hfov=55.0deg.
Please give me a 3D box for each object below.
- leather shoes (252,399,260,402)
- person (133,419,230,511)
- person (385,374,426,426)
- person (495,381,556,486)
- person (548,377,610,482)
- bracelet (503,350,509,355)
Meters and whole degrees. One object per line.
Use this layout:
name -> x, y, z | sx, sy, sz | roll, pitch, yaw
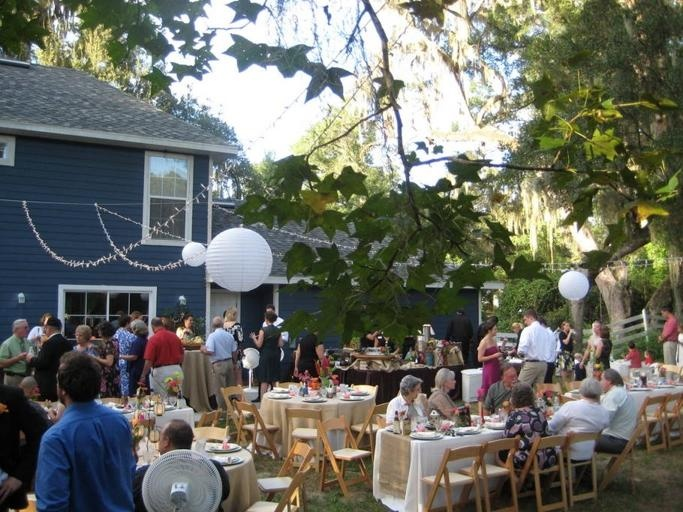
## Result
leather shoes -> -1.862, 3.153, 14.257 | 0.164, 0.128, 0.071 | -1, -12, 2
person -> -1.559, 2.000, 6.149 | 0.783, 0.918, 0.816 | 3, -6, -35
person -> 0.884, 2.106, 9.414 | 0.711, 0.754, 0.399 | 2, -1, -32
person -> 2.428, 2.248, 8.609 | 0.677, 1.140, 0.632 | -6, -2, -17
person -> 3.223, 2.217, 8.843 | 0.824, 1.083, 0.564 | 1, -4, 5
bracelet -> 4.354, 2.572, 17.358 | 0.148, 0.044, 0.168 | -1, 1, 14
